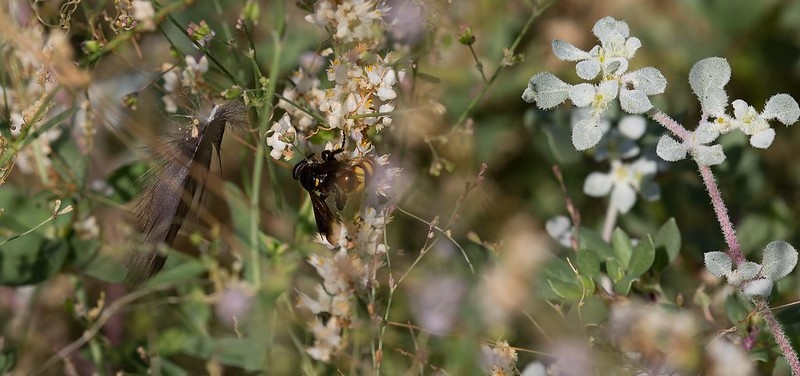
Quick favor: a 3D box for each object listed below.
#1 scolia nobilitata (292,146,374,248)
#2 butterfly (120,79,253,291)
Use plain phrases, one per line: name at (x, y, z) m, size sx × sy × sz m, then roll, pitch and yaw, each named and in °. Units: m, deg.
scolia nobilitata at (-0.156, 0.012, 1.747) m, size 0.185 × 0.075 × 0.245 m, roll -55°, pitch 53°, yaw 20°
butterfly at (-0.539, -0.006, 1.810) m, size 0.196 × 0.132 × 0.537 m, roll 21°, pitch 79°, yaw -1°
